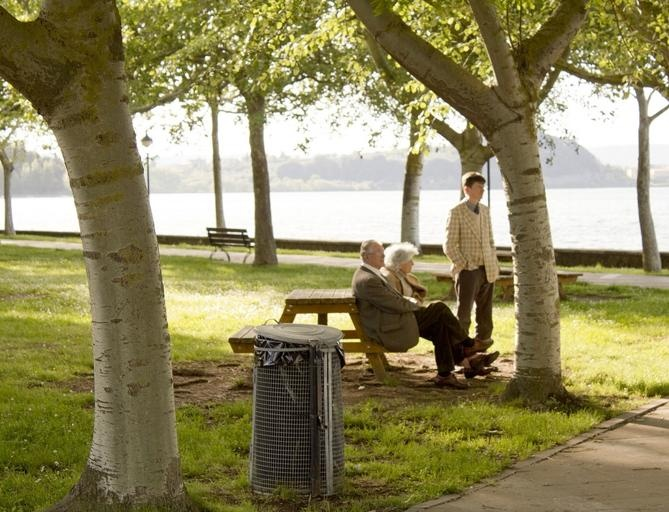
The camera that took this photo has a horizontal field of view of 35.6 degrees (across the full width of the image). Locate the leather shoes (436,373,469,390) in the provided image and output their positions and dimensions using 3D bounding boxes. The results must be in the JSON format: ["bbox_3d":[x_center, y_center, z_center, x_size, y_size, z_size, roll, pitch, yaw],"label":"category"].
[{"bbox_3d":[1.446,1.533,12.721,0.434,0.191,0.165,2,1,-2],"label":"leather shoes"}]

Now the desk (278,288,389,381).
[{"bbox_3d":[0.043,0.857,13.018,1.163,0.759,1.156,1,8,5],"label":"desk"}]

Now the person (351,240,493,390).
[{"bbox_3d":[1.021,0.708,12.793,1.577,1.484,0.590,-2,-1,-4],"label":"person"}]
